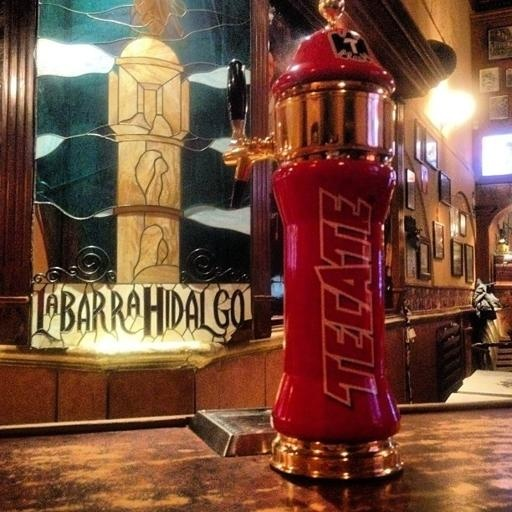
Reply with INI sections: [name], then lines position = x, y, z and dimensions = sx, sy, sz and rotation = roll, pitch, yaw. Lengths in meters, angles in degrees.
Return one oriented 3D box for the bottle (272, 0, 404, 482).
[bottle]
position = 0.095, -0.036, 0.881
dimensions = 0.187, 0.571, 0.158
rotation = -3, 4, -10
